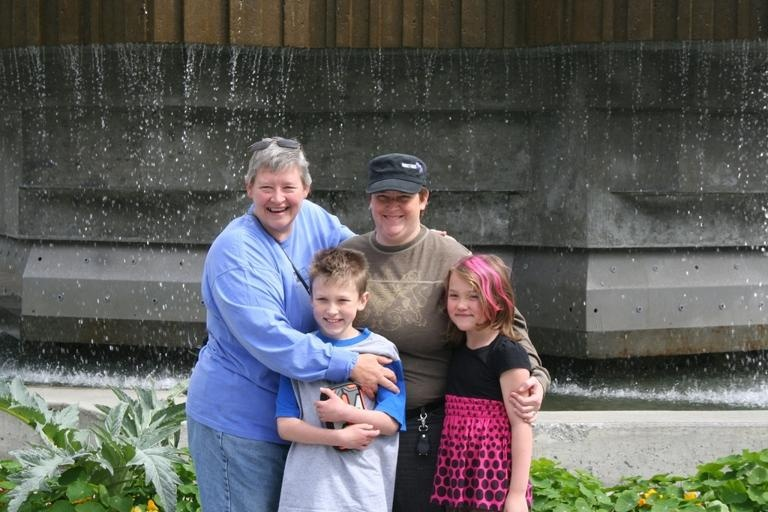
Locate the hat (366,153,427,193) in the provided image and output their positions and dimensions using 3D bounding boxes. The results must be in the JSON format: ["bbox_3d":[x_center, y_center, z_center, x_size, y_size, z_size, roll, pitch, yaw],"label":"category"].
[{"bbox_3d":[0.087,-0.737,11.267,0.359,0.377,0.482,-1,7,0],"label":"hat"}]
